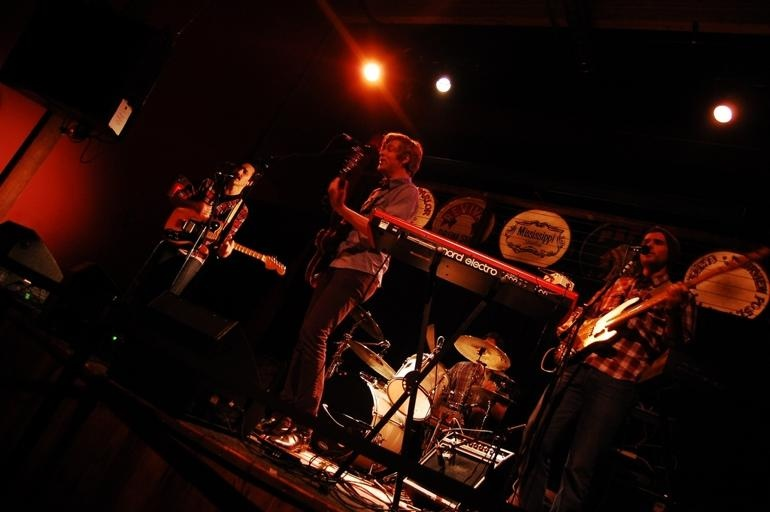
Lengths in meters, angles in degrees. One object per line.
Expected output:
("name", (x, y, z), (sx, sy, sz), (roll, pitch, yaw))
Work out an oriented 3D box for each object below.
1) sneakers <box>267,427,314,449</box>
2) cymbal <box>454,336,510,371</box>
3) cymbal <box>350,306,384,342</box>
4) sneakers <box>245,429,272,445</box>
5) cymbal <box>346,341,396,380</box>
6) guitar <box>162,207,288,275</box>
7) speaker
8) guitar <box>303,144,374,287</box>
("sneakers", (-0.783, 1.515, 4.802), (0.277, 0.118, 0.285), (1, -12, 8))
("cymbal", (0.966, 0.963, 5.760), (0.516, 0.138, 0.537), (4, -41, 36))
("cymbal", (-0.221, 0.602, 5.634), (0.400, 0.108, 0.305), (26, -29, 29))
("sneakers", (-1.020, 1.461, 4.654), (0.170, 0.134, 0.080), (30, -18, -4))
("cymbal", (-0.121, 1.022, 5.665), (0.435, 0.103, 0.402), (38, -22, -15))
("guitar", (-1.791, -0.122, 6.454), (1.306, 0.522, 0.151), (32, -15, -37))
("speaker", (-1.596, 0.771, 4.452), (0.867, 0.844, 0.454), (22, 10, 18))
("guitar", (-0.485, -0.382, 5.605), (0.247, 0.679, 1.780), (19, -49, -2))
